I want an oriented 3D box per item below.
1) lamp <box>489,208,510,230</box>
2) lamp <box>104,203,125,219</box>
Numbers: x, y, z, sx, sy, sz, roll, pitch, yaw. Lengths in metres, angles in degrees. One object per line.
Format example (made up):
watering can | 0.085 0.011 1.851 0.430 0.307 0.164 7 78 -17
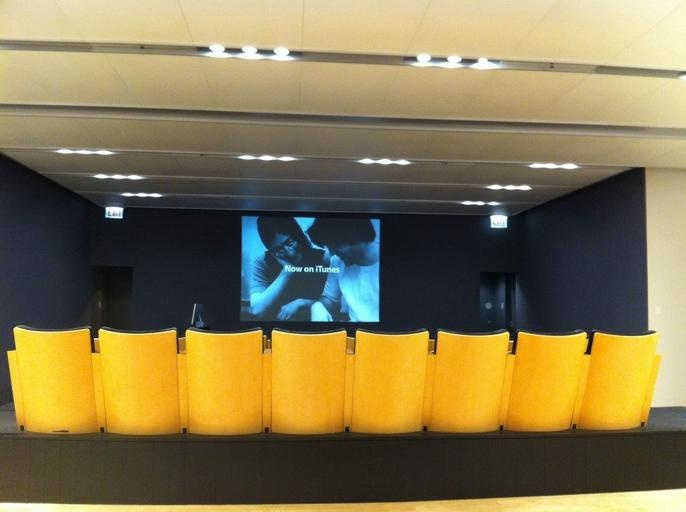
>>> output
lamp | 3.554 -0.810 13.386 0.553 0.603 0.322 0 -4 1
lamp | -4.887 -0.940 12.628 0.405 0.310 0.280 1 2 -25
